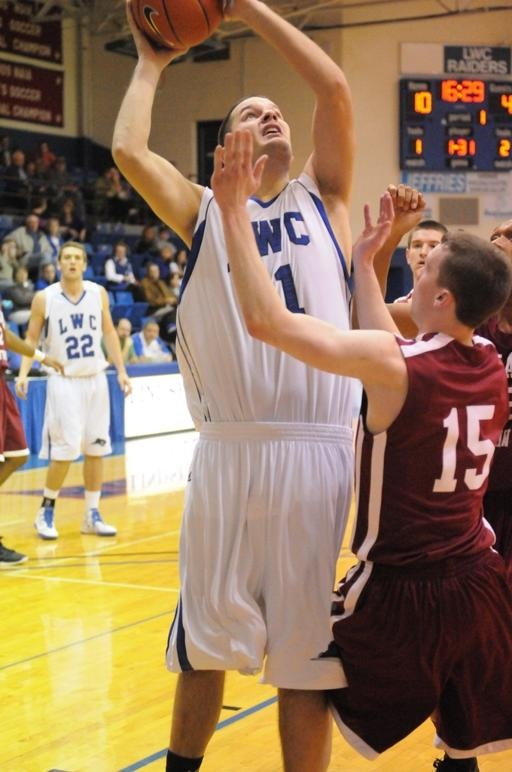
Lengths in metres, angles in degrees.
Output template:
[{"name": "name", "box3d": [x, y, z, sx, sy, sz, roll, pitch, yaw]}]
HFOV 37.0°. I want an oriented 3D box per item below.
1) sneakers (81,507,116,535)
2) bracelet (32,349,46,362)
[{"name": "sneakers", "box3d": [-0.996, 0.878, 5.006, 0.276, 0.192, 0.114, 2, -2, 41]}, {"name": "bracelet", "box3d": [-1.374, -0.192, 4.845, 0.077, 0.044, 0.106, 13, 36, -46]}]
